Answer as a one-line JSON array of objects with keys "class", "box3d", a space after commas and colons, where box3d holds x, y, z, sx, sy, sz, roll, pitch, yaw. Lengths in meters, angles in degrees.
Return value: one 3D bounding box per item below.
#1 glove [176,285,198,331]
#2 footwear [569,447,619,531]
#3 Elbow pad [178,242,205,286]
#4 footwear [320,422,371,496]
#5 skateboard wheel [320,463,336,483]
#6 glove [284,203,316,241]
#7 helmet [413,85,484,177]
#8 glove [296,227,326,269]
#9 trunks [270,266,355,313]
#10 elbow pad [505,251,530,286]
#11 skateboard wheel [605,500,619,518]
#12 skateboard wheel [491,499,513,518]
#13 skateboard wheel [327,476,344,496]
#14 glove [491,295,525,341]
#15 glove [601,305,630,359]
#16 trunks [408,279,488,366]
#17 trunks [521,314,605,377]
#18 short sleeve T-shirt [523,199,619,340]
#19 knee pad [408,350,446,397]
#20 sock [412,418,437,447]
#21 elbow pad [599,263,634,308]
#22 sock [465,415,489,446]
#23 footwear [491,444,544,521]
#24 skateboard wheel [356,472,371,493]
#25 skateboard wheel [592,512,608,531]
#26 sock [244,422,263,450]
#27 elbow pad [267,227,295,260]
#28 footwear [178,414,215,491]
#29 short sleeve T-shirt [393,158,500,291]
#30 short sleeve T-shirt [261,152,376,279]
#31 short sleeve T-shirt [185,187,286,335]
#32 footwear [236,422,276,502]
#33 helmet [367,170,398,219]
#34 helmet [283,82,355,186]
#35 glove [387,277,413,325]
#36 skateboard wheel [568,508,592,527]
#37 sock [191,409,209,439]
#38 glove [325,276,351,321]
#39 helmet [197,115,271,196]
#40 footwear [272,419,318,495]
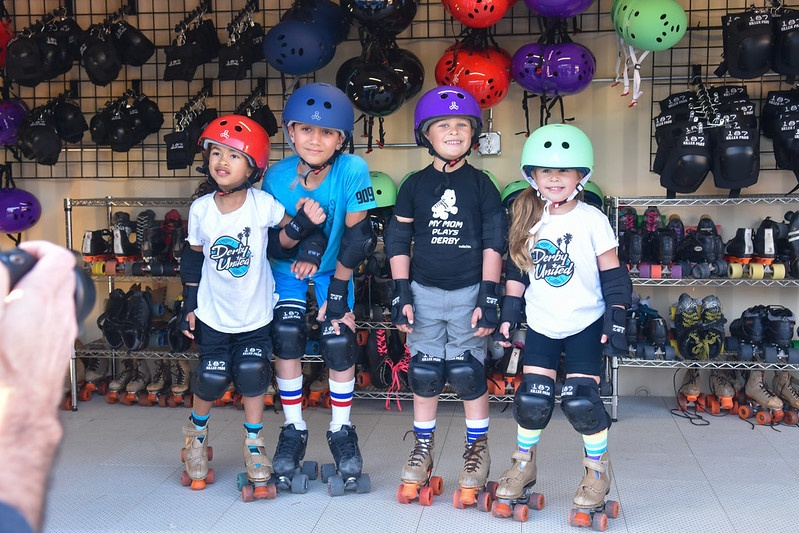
[{"class": "glove", "box3d": [-1.240, 0.236, 4.008, 0.083, 0.245, 0.152, 5, -4, -38]}, {"class": "footwear", "box3d": [1.035, 1.205, 3.536, 0.183, 0.354, 0.432, -3, -5, 24]}, {"class": "Elbow pad", "box3d": [-1.233, -0.009, 3.970, 0.147, 0.236, 0.076, 2, 1, 9]}, {"class": "footwear", "box3d": [-0.310, 0.990, 3.950, 0.247, 0.390, 0.527, -1, 5, -7]}, {"class": "skateboard wheel", "box3d": [-0.429, 1.214, 3.961, 0.105, 0.100, 0.097, -8, -22, -3]}, {"class": "glove", "box3d": [-0.567, -0.228, 3.866, 0.091, 0.148, 0.190, 30, -1, -1]}, {"class": "helmet", "box3d": [0.309, -0.836, 3.958, 0.385, 0.471, 0.439, -4, 5, -30]}, {"class": "glove", "box3d": [-0.495, -0.109, 3.877, 0.131, 0.246, 0.073, 1, -27, 30]}, {"class": "trunks", "box3d": [-0.579, 0.163, 4.138, 0.285, 0.329, 0.106, 7, -28, -7]}, {"class": "elbow pad", "box3d": [0.670, 0.016, 3.779, 0.118, 0.178, 0.168, -7, -17, -1]}, {"class": "skateboard wheel", "box3d": [1.133, 1.293, 3.557, 0.043, 0.090, 0.085, 0, 2, 34]}, {"class": "skateboard wheel", "box3d": [0.554, 1.289, 3.617, 0.090, 0.091, 0.095, 6, 4, 0]}, {"class": "skateboard wheel", "box3d": [-0.355, 1.255, 3.817, 0.088, 0.128, 0.119, 1, 1, -16]}, {"class": "glove", "box3d": [0.635, 0.299, 3.758, 0.163, 0.257, 0.093, -5, -12, 37]}, {"class": "glove", "box3d": [1.160, 0.348, 3.544, 0.150, 0.282, 0.091, 10, -24, 11]}, {"class": "trunks", "box3d": [0.279, 0.246, 3.907, 0.484, 0.704, 0.359, -3, 31, -2]}, {"class": "trunks", "box3d": [0.918, 0.334, 3.688, 0.443, 0.432, 0.282, 3, -7, 14]}, {"class": "short sleeve T-shirt", "box3d": [0.933, 0.035, 3.617, 0.615, 0.833, 0.403, -3, -5, 37]}, {"class": "knee pad", "box3d": [0.163, 0.610, 3.906, 0.218, 0.156, 0.376, 8, 17, 13]}, {"class": "sock", "box3d": [0.154, 0.938, 3.817, 0.101, 0.141, 0.138, 1, 39, 0]}, {"class": "elbow pad", "box3d": [1.171, 0.113, 3.599, 0.169, 0.216, 0.129, 1, 12, 8]}, {"class": "sock", "box3d": [0.433, 0.918, 3.791, 0.125, 0.195, 0.125, 0, -35, 0]}, {"class": "footwear", "box3d": [0.651, 1.193, 3.784, 0.192, 0.352, 0.432, -3, -6, 25]}, {"class": "skateboard wheel", "box3d": [-0.199, 1.251, 3.897, 0.094, 0.090, 0.091, 7, 4, 0]}, {"class": "skateboard wheel", "box3d": [1.052, 1.336, 3.497, 0.037, 0.079, 0.072, 2, 11, 36]}, {"class": "sock", "box3d": [-0.847, 0.967, 3.905, 0.074, 0.135, 0.126, 0, -17, -6]}, {"class": "elbow pad", "box3d": [-0.695, -0.136, 3.936, 0.171, 0.078, 0.139, -11, -38, 17]}, {"class": "footwear", "box3d": [-1.205, 1.101, 4.010, 0.197, 0.292, 0.431, 3, 17, -20]}, {"class": "short sleeve T-shirt", "box3d": [0.291, -0.198, 3.952, 0.693, 0.833, 0.419, -1, -12, 11]}, {"class": "short sleeve T-shirt", "box3d": [-0.506, -0.244, 3.943, 0.701, 0.910, 0.377, 5, -10, -33]}, {"class": "short sleeve T-shirt", "box3d": [-0.944, -0.019, 3.868, 0.685, 1.086, 0.390, -1, 8, -9]}, {"class": "footwear", "box3d": [-0.819, 1.145, 3.868, 0.216, 0.328, 0.241, -3, 12, -12]}, {"class": "helmet", "box3d": [-0.092, -0.538, 4.806, 0.203, 0.312, 0.280, -8, 3, -16]}, {"class": "helmet", "box3d": [-0.484, -0.762, 4.003, 0.389, 0.550, 0.452, 5, -2, -34]}, {"class": "glove", "box3d": [0.027, 0.210, 3.841, 0.142, 0.289, 0.108, -11, -36, 13]}, {"class": "skateboard wheel", "box3d": [0.951, 1.322, 3.496, 0.093, 0.084, 0.030, 6, -10, -8]}, {"class": "sock", "box3d": [-1.160, 0.916, 3.915, 0.087, 0.170, 0.155, 3, -9, -2]}, {"class": "glove", "box3d": [-0.357, 0.190, 3.926, 0.165, 0.279, 0.155, 8, -14, -8]}, {"class": "helmet", "box3d": [-0.924, -0.650, 4.010, 0.322, 0.439, 0.437, 15, 5, 12]}, {"class": "footwear", "box3d": [-0.615, 1.137, 4.005, 0.194, 0.254, 0.385, -1, -2, -1]}]
